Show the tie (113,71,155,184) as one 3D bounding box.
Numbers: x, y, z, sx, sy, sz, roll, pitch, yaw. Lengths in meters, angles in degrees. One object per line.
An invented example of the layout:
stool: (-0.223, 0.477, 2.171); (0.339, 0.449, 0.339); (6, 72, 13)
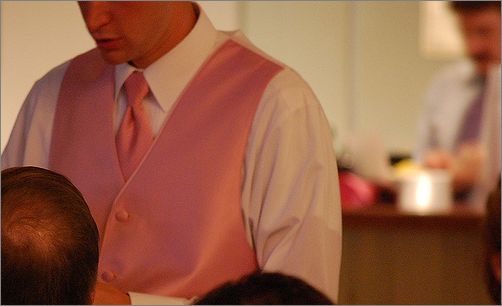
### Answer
tie: (-0.300, -0.059, 1.755); (0.097, 0.279, 0.027); (4, -1, 23)
